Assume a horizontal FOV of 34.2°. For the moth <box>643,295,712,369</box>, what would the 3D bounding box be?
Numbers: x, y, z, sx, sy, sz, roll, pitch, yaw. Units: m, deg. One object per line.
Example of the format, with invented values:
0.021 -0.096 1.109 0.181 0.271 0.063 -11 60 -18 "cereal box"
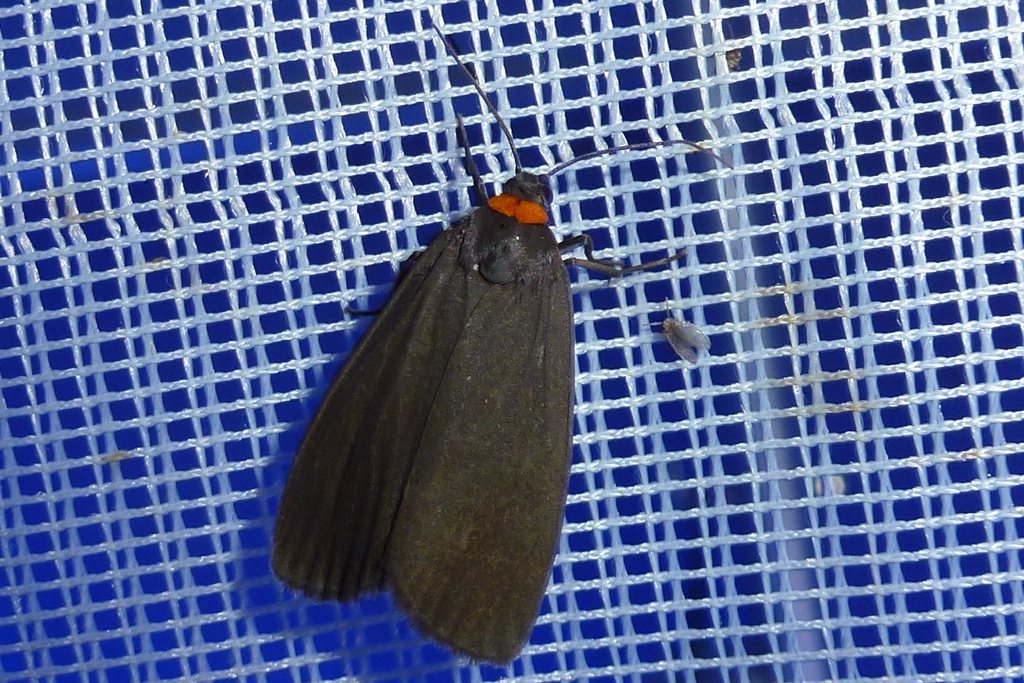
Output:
0.477 -0.019 4.790 0.200 0.059 0.134 43 97 -3 "moth"
